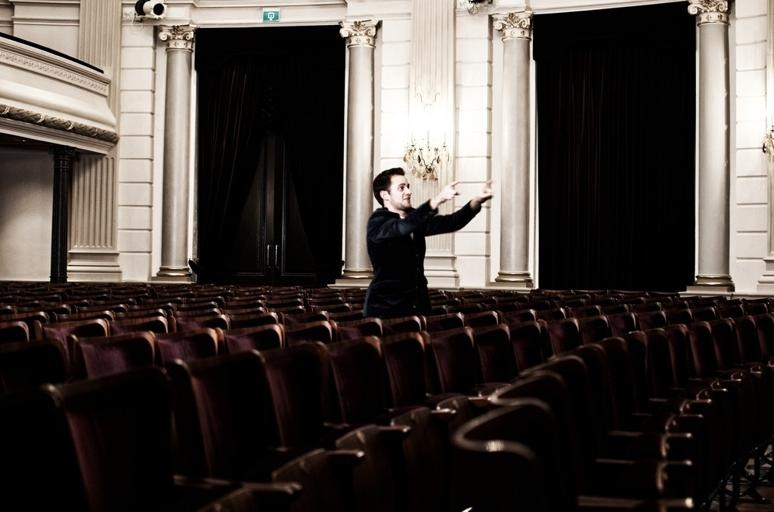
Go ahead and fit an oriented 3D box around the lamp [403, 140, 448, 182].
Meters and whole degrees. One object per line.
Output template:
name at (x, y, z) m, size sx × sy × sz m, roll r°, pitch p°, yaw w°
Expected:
lamp at (0.613, -1.593, 11.391) m, size 0.640 × 0.528 × 0.660 m, roll 4°, pitch -3°, yaw -16°
